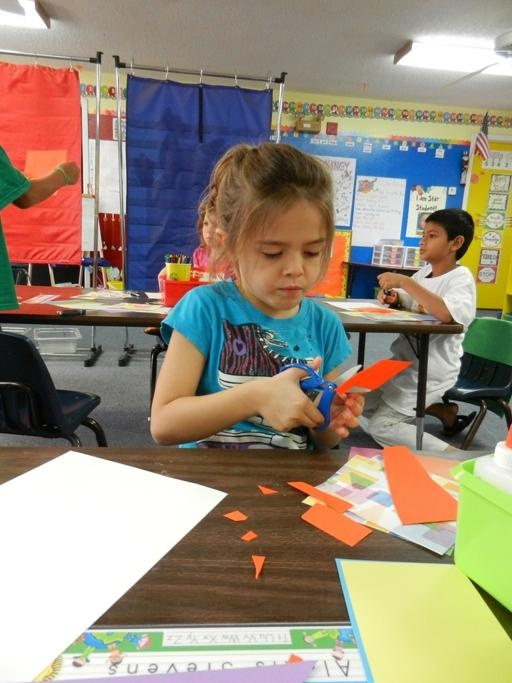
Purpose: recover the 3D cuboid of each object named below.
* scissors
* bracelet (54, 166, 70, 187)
[{"bbox_3d":[0.083,0.065,0.689,0.034,0.068,0.113,-49,7,-16],"label":"scissors"},{"bbox_3d":[-0.656,-0.563,1.880,0.044,0.046,0.019,11,38,44],"label":"bracelet"}]
